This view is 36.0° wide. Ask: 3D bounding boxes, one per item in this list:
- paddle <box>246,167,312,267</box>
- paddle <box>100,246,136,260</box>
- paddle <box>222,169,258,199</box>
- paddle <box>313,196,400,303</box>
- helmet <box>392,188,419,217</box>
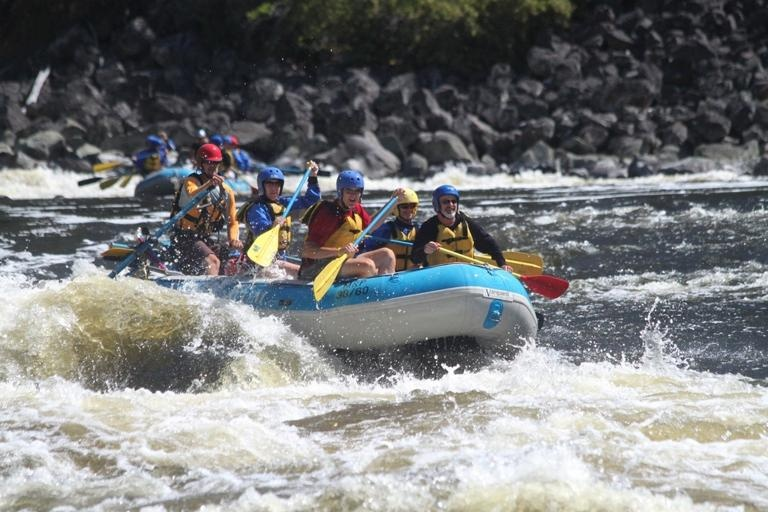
[{"bbox_3d":[-2.226,-0.866,26.312,0.647,2.742,0.200,33,-20,-5],"label":"paddle"},{"bbox_3d":[-6.013,-0.083,26.631,0.935,0.237,0.172,-1,-1,20],"label":"paddle"},{"bbox_3d":[-4.176,-2.138,34.346,0.805,0.505,1.572,29,-6,-13],"label":"paddle"},{"bbox_3d":[-0.648,-0.085,25.431,3.374,0.466,0.161,-42,0,-20],"label":"paddle"},{"bbox_3d":[0.464,-1.278,26.061,0.524,0.552,0.670,1,-16,-33],"label":"helmet"}]
